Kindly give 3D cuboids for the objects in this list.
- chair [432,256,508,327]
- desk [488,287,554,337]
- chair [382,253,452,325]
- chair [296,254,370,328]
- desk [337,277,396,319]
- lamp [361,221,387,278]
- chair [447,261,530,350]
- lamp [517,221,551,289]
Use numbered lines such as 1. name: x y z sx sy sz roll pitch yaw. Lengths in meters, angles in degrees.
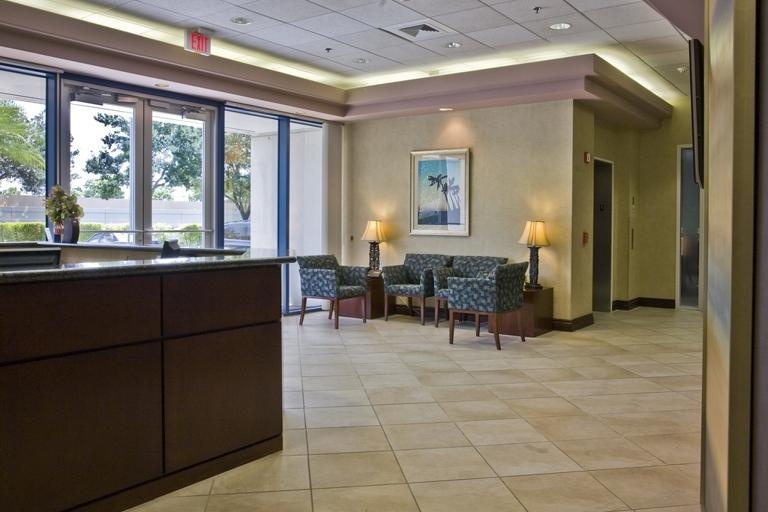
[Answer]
1. chair: 1.301 0.571 8.579 0.894 1.084 0.757 5 8 42
2. desk: 2.014 0.831 8.437 1.051 0.937 0.703 0 1 41
3. chair: 0.600 0.533 9.093 1.208 1.120 1.178 3 2 -13
4. chair: -0.799 0.555 8.837 0.990 1.035 0.985 -2 4 -40
5. desk: -0.286 0.705 9.716 0.888 0.734 0.905 1 2 24
6. lamp: -0.164 -0.173 9.773 0.495 0.860 0.455 -1 -1 17
7. chair: 1.324 0.663 7.839 1.187 1.445 1.098 0 0 31
8. lamp: 2.290 -0.025 8.335 0.494 0.915 0.482 0 0 -32
